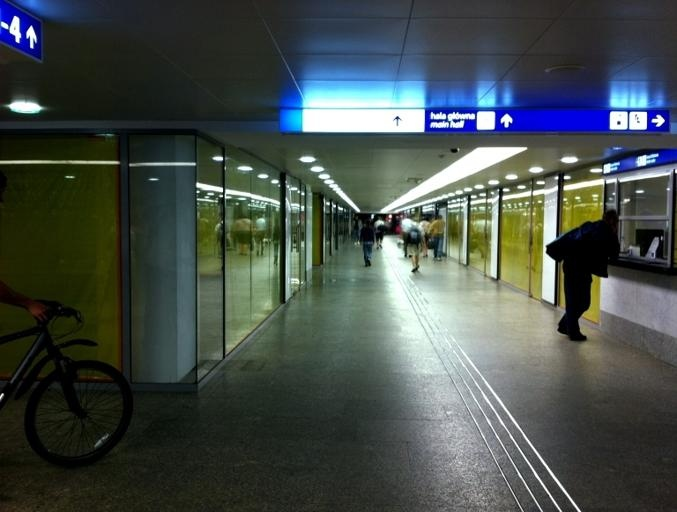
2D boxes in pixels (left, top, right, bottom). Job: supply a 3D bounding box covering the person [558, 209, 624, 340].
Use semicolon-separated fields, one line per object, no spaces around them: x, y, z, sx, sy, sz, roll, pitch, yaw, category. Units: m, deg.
3.965;0.315;8.723;0.508;2.105;0.994;-2;8;-14;person
